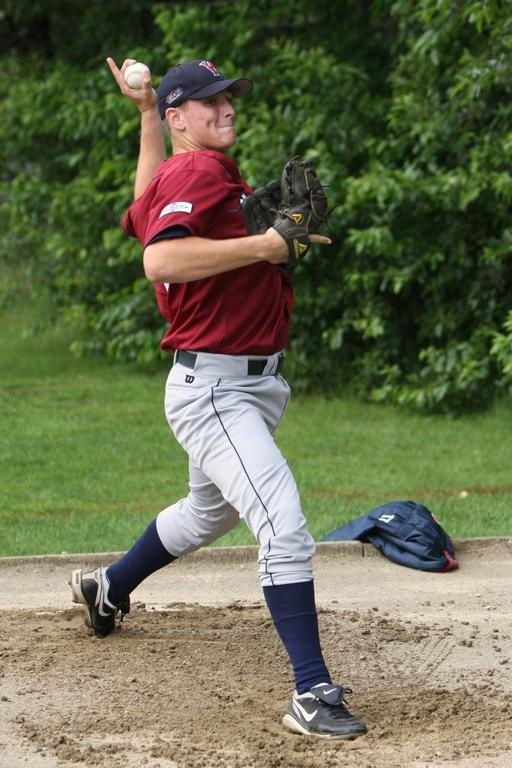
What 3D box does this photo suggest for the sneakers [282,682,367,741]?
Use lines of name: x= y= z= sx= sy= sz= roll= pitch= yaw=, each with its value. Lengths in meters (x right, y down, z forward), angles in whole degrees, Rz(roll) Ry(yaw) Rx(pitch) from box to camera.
sneakers: x=0.206 y=0.925 z=3.008 sx=0.131 sy=0.138 sz=0.305 roll=12 pitch=-12 yaw=-36

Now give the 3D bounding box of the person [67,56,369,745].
person: x=-0.165 y=-0.018 z=3.347 sx=0.721 sy=1.969 sz=1.226 roll=-4 pitch=7 yaw=-20

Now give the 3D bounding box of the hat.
hat: x=-0.171 y=-0.932 z=3.291 sx=0.298 sy=0.137 sz=0.196 roll=-13 pitch=5 yaw=29
